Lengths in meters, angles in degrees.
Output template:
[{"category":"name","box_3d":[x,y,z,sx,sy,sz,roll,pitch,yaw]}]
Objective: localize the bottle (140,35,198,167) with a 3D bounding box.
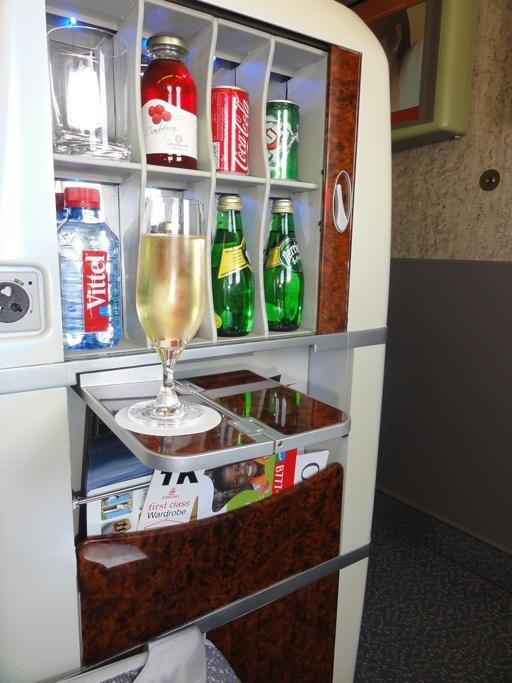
[{"category":"bottle","box_3d":[-0.125,-0.344,0.741,0.085,0.179,0.049,3,7,-14]}]

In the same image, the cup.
[{"category":"cup","box_3d":[-0.249,-0.350,0.715,0.099,0.149,0.087,-14,30,-34]}]

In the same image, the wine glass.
[{"category":"wine glass","box_3d":[-0.095,-0.031,0.552,0.070,0.237,0.108,4,7,-13]}]

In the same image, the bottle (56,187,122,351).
[{"category":"bottle","box_3d":[-0.240,-0.103,0.736,0.092,0.228,0.105,3,7,-17]}]
